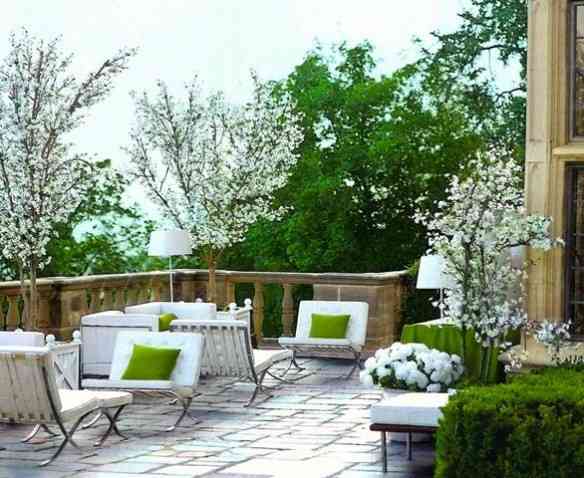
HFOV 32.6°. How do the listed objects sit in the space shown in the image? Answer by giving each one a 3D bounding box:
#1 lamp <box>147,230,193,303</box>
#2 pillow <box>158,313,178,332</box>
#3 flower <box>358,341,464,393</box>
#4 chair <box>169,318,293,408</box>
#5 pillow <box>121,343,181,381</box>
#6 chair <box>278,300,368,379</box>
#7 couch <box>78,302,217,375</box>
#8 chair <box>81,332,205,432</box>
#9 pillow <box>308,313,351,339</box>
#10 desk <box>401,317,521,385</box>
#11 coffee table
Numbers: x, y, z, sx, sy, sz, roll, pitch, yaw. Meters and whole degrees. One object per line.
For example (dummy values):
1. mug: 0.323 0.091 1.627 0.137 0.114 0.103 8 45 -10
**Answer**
1. lamp: -1.549 0.282 13.393 0.526 1.139 0.649 3 0 -16
2. pillow: -1.532 1.025 12.235 0.145 0.165 0.490 -8 5 7
3. flower: 1.093 1.188 9.148 0.667 0.489 0.727 3 -2 4
4. chair: -0.649 1.327 11.134 1.037 0.952 0.964 2 1 38
5. pillow: -1.376 1.246 9.902 0.395 0.373 0.130 8 -31 19
6. chair: 0.415 1.295 12.924 1.016 0.881 0.878 -1 2 27
7. couch: -1.719 1.282 12.600 1.054 0.880 1.944 -2 1 22
8. chair: -1.400 1.401 10.089 1.060 0.961 1.013 1 1 15
9. pillow: 0.488 1.137 12.979 0.503 0.274 0.320 0 4 8
10. desk: 1.776 1.163 10.445 0.825 0.574 1.130 3 -2 30
11. coffee table: -1.853 1.484 8.890 0.850 0.406 0.609 -4 -12 27
